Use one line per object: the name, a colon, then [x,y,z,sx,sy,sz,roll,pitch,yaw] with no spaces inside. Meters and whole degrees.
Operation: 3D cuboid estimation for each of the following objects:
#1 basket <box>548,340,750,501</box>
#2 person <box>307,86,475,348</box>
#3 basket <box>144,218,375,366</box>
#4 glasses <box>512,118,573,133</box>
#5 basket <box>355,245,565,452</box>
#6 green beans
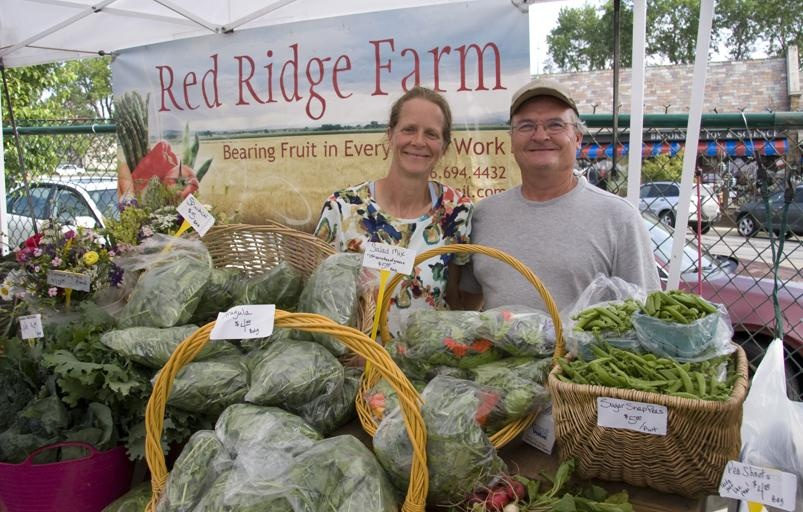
basket: [1.085,0.777,2.560,0.848,0.538,0.265,2,9,13]
person: [0.010,-0.187,3.831,1.186,1.678,0.544,3,1,-16]
basket: [-0.802,0.265,3.659,0.925,0.352,0.944,13,38,-11]
glasses: [0.861,-0.794,3.513,0.345,0.084,0.096,2,9,16]
basket: [0.305,0.339,2.960,0.957,0.876,0.980,3,3,29]
green beans: [1.178,0.284,2.688,0.624,0.520,0.619,4,9,34]
